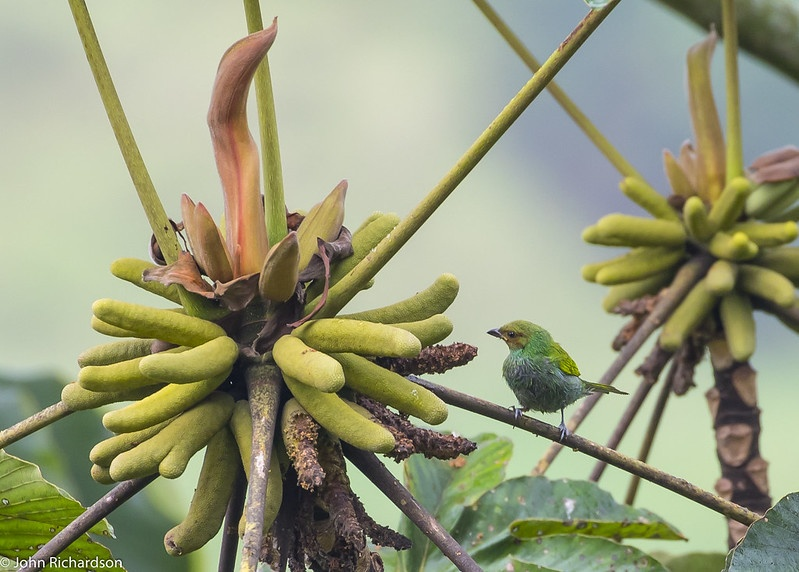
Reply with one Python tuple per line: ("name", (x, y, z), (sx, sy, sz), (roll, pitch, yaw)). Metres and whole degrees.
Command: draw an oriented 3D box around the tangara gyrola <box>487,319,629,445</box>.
("tangara gyrola", (0.586, 0.328, 3.713), (0.518, 0.377, 0.255), (4, -11, -17))
